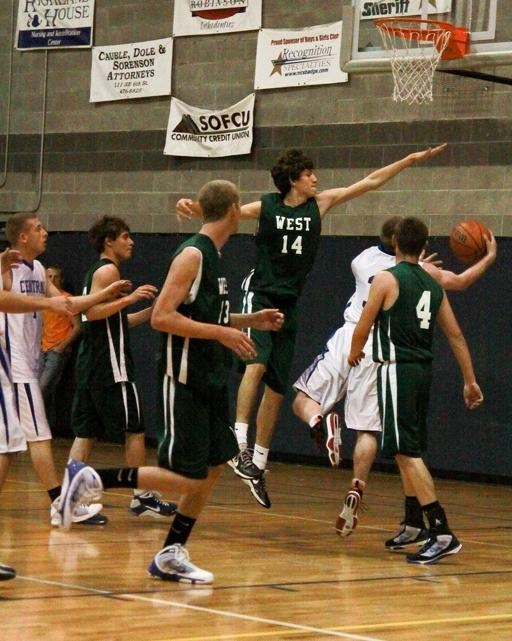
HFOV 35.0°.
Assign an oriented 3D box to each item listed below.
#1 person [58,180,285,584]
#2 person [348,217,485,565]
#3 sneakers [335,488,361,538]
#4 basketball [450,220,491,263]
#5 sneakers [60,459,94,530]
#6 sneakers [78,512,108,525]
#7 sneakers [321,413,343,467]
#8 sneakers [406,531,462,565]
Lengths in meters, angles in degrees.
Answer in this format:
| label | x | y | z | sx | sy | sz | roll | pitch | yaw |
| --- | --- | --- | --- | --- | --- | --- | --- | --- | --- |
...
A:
| label | x | y | z | sx | sy | sz | roll | pitch | yaw |
| --- | --- | --- | --- | --- | --- | --- | --- | --- | --- |
| person | -0.292 | 0.270 | 2.931 | 0.729 | 1.550 | 0.592 | 4 | 9 | 2 |
| person | 0.732 | 0.309 | 3.801 | 0.621 | 1.569 | 0.505 | 6 | 10 | 14 |
| sneakers | 0.454 | 0.970 | 4.058 | 0.103 | 0.258 | 0.113 | 20 | 19 | 22 |
| basketball | 1.364 | -0.508 | 5.245 | 0.280 | 0.293 | 0.262 | -6 | 4 | -3 |
| sneakers | -0.633 | 0.598 | 2.895 | 0.125 | 0.258 | 0.093 | 9 | -4 | 3 |
| sneakers | -0.911 | 1.107 | 4.539 | 0.159 | 0.059 | 0.055 | 7 | -7 | -13 |
| sneakers | 0.438 | 0.653 | 4.452 | 0.120 | 0.271 | 0.107 | -7 | 4 | 17 |
| sneakers | 0.802 | 1.043 | 3.706 | 0.232 | 0.181 | 0.141 | 0 | 10 | -19 |
